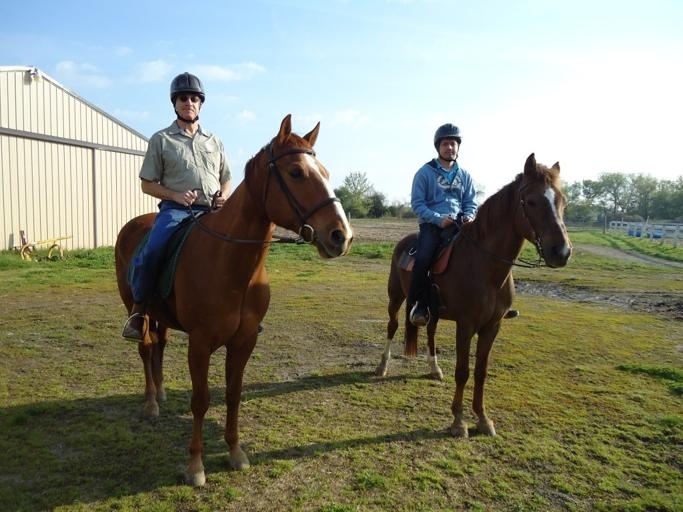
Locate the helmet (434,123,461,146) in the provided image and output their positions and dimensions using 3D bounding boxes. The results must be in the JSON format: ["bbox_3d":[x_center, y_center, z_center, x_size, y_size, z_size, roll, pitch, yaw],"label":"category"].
[{"bbox_3d":[1.592,-1.800,7.401,0.380,0.331,0.349,4,12,8],"label":"helmet"}]

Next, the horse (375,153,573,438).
[{"bbox_3d":[1.729,0.721,7.578,1.074,3.746,4.209,4,-1,-19],"label":"horse"}]

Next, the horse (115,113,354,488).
[{"bbox_3d":[-1.081,0.501,5.515,2.161,4.050,0.807,3,11,8],"label":"horse"}]
